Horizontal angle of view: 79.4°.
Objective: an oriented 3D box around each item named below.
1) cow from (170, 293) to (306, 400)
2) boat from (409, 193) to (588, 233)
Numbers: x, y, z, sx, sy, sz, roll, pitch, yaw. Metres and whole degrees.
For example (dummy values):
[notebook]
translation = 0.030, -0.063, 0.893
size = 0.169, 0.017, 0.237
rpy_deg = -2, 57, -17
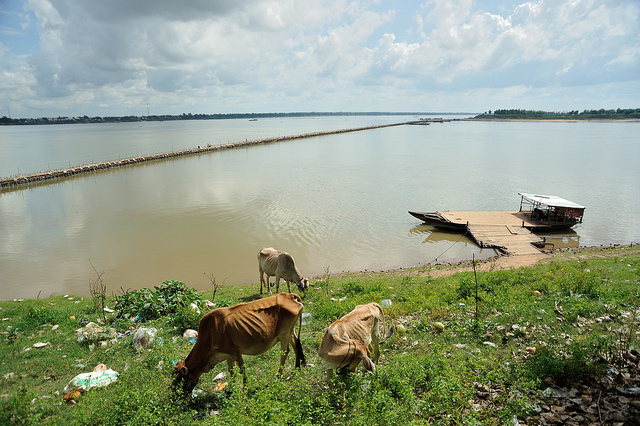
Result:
[cow]
translation = -2.979, 5.325, 15.332
size = 3.364, 3.653, 4.885
rpy_deg = -3, -5, 26
[boat]
translation = 17.348, 0.442, 36.737
size = 12.568, 2.396, 6.679
rpy_deg = 1, 15, 1
